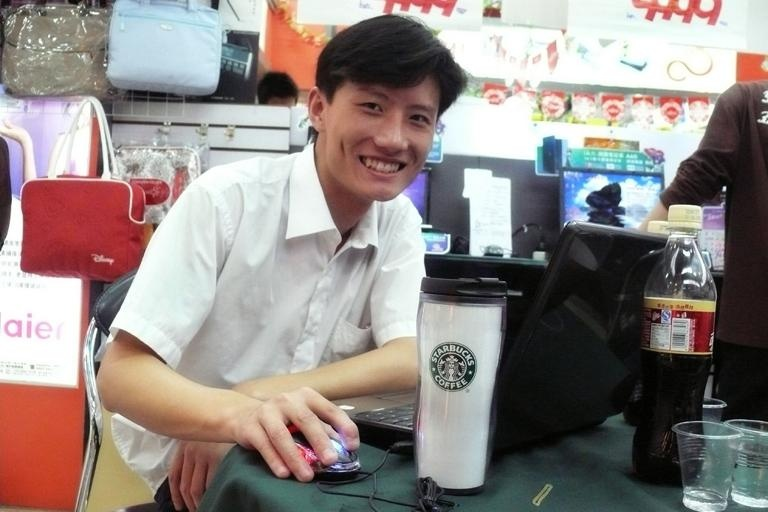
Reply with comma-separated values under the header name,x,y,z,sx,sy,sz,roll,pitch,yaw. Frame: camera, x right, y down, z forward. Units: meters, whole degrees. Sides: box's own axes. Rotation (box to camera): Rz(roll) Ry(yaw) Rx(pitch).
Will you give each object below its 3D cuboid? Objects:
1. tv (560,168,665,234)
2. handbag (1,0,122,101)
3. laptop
name,x,y,z,sx,sy,sz,roll,pitch,yaw
tv,1.017,-0.253,2.926,0.425,0.319,0.035,5,-22,3
handbag,-1.609,-0.991,3.163,0.475,0.493,0.174,2,7,-7
laptop,0.321,0.168,1.519,0.577,0.412,0.525,1,-1,-39
